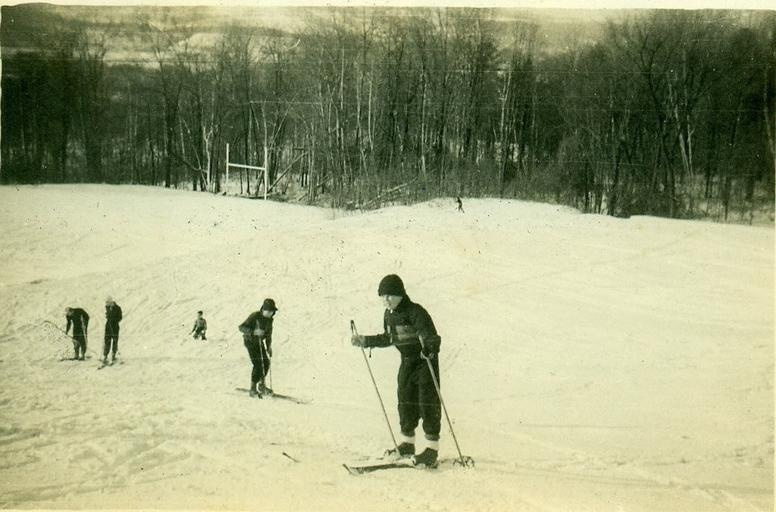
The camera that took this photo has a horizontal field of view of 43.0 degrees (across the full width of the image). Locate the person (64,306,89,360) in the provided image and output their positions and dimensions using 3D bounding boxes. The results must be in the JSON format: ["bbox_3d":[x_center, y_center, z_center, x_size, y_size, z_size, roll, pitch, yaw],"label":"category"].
[{"bbox_3d":[-9.812,2.427,31.234,0.642,1.649,0.510,0,4,-18],"label":"person"}]

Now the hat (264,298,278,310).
[{"bbox_3d":[-3.505,1.413,29.134,0.375,0.358,0.735,1,3,-8],"label":"hat"}]

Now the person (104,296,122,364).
[{"bbox_3d":[-8.649,2.320,30.988,0.521,2.086,0.558,1,4,-15],"label":"person"}]
